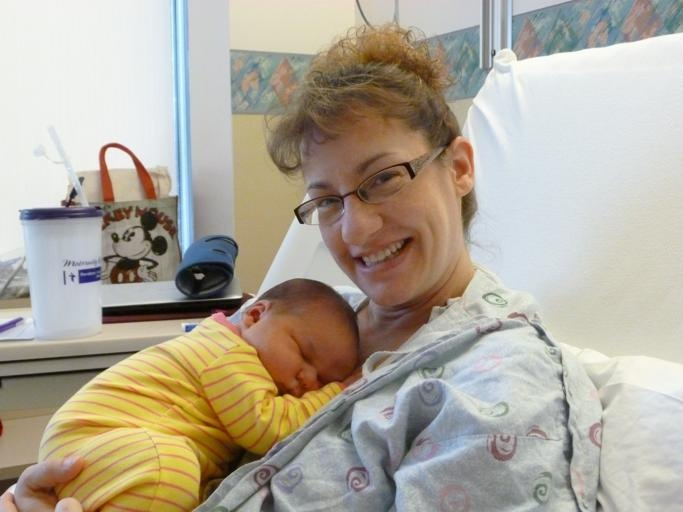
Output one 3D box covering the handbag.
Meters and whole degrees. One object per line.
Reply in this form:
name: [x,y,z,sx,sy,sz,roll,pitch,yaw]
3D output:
handbag: [-0.714,-0.049,2.117,0.273,0.272,0.102,-5,12,-19]
